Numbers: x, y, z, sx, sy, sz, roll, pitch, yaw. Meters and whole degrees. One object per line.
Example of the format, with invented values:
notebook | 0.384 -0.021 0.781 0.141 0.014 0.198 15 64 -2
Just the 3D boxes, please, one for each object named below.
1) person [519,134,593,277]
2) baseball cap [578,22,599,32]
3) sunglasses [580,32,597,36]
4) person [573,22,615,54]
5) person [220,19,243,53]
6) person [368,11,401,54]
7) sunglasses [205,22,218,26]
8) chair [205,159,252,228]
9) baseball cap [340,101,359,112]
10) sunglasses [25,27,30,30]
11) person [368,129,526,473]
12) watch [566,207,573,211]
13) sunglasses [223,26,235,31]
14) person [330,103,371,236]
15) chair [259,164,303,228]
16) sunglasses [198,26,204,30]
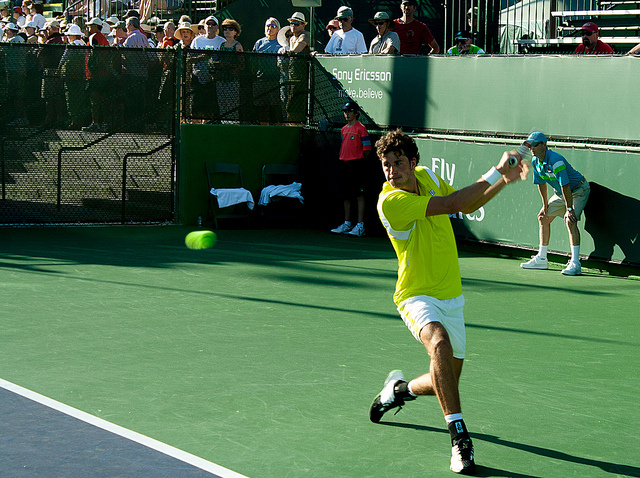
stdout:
person | 3.688 -0.551 11.192 1.154 2.165 0.966 2 10 3
baseball cap | 4.786 -3.759 12.645 0.263 0.197 0.315 5 10 19
sunglasses | 4.727 -3.635 12.630 0.103 0.077 0.295 -4 11 -29
person | 4.869 -3.569 12.719 0.515 0.594 0.920 -13 20 -23
person | -2.018 -4.430 16.079 0.500 1.096 0.399 2 -5 7
person | 1.290 -4.182 14.673 0.636 0.925 0.574 2 7 24
sunglasses | -2.410 -4.812 15.952 0.265 0.069 0.102 -4 12 -31
chair | -1.889 -0.918 14.820 0.896 1.256 0.939 -5 13 -36
baseball cap | 0.643 -2.584 13.797 0.424 0.213 0.302 4 5 -13
sunglasses | -8.563 -6.173 20.897 0.092 0.070 0.094 5 16 11
person | 0.868 0.370 5.117 0.541 2.252 1.031 -7 13 -39
watch | 3.811 -0.464 10.858 0.078 0.062 0.040 2 10 3
sunglasses | -2.019 -4.689 15.885 0.221 0.092 0.131 0 10 -8
person | 0.672 -1.333 13.951 0.582 2.585 0.628 2 10 2
chair | -0.798 -0.953 15.315 1.157 1.378 1.226 0 3 39
sunglasses | -2.827 -5.067 17.097 0.099 0.107 0.031 7 9 35
